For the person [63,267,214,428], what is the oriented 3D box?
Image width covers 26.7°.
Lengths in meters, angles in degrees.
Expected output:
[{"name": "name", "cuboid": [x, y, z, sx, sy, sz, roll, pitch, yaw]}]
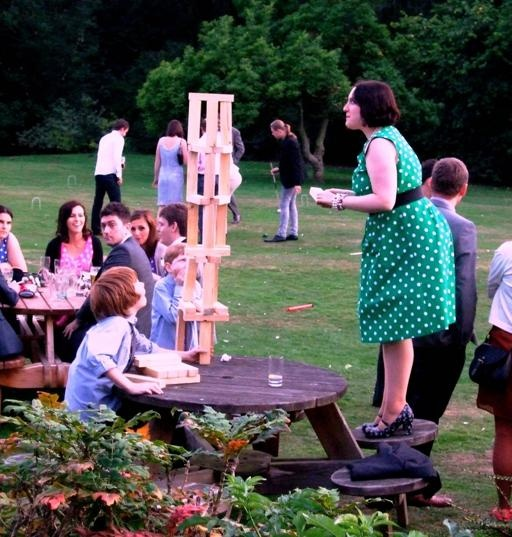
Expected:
[{"name": "person", "cuboid": [-0.622, 0.365, 5.729, 0.772, 1.117, 0.750, -2, 14, -9]}]

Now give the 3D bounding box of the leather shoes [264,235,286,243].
[{"name": "leather shoes", "cuboid": [0.220, -0.401, 14.816, 0.335, 0.118, 0.106, 2, 2, -12]}]

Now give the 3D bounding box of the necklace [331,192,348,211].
[{"name": "necklace", "cuboid": [0.405, -0.322, 5.233, 0.068, 0.075, 0.032, -3, -20, 18]}]

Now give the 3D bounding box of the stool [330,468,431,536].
[{"name": "stool", "cuboid": [0.548, 1.046, 5.003, 0.453, 0.298, 0.427, 1, 5, 2]}]

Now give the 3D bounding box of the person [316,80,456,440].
[{"name": "person", "cuboid": [0.637, -0.020, 5.205, 0.647, 1.751, 0.367, 4, 8, 13]}]

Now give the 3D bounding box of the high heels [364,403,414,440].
[{"name": "high heels", "cuboid": [0.648, 0.762, 5.250, 0.267, 0.138, 0.136, 0, 2, 8]}]

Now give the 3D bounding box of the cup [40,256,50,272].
[{"name": "cup", "cuboid": [-1.563, -0.030, 7.975, 0.064, 0.125, 0.249, 1, 7, -12]}]
